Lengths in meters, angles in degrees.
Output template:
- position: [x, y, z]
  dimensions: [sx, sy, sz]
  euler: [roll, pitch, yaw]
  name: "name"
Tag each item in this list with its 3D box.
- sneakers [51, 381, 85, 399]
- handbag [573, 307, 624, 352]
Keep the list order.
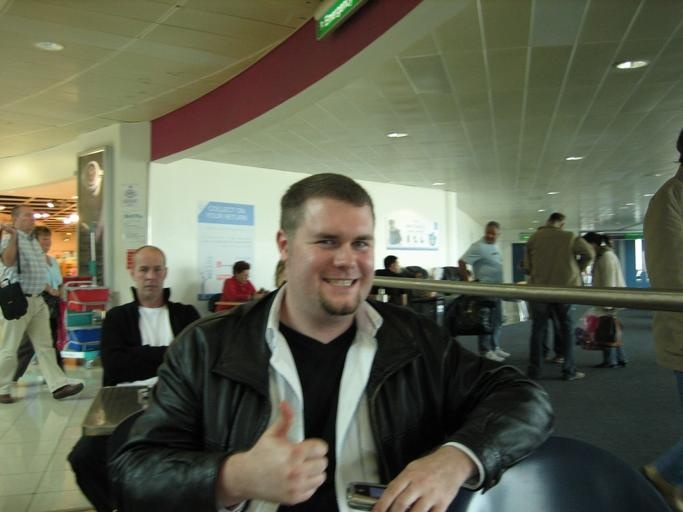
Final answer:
- position: [-2.771, 1.361, 5.458]
  dimensions: [0.271, 0.110, 0.105]
  euler: [-7, 8, -34]
  name: "sneakers"
- position: [0.878, 0.256, 1.845]
  dimensions: [0.164, 0.153, 0.115]
  euler: [2, -3, -15]
  name: "handbag"
